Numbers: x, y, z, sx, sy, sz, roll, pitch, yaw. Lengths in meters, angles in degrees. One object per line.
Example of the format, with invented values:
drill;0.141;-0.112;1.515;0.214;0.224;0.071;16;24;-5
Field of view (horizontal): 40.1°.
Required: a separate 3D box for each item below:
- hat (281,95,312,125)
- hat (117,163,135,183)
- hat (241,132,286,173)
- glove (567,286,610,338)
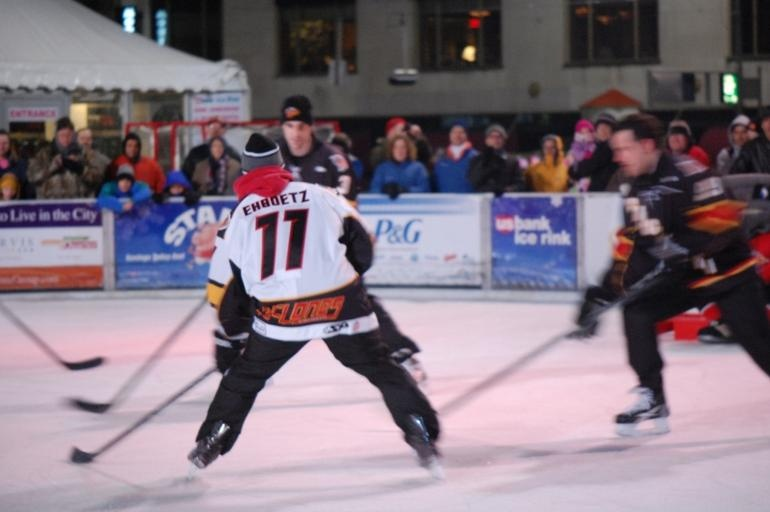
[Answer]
hat;-0.779;-1.261;9.213;0.236;0.191;0.259;2;1;44
hat;-3.075;-0.971;12.425;0.174;0.187;0.234;3;-32;-16
hat;-0.922;-0.784;7.940;0.365;0.250;0.287;3;23;41
glove;1.647;0.441;8.570;0.139;0.140;0.424;-27;3;35
